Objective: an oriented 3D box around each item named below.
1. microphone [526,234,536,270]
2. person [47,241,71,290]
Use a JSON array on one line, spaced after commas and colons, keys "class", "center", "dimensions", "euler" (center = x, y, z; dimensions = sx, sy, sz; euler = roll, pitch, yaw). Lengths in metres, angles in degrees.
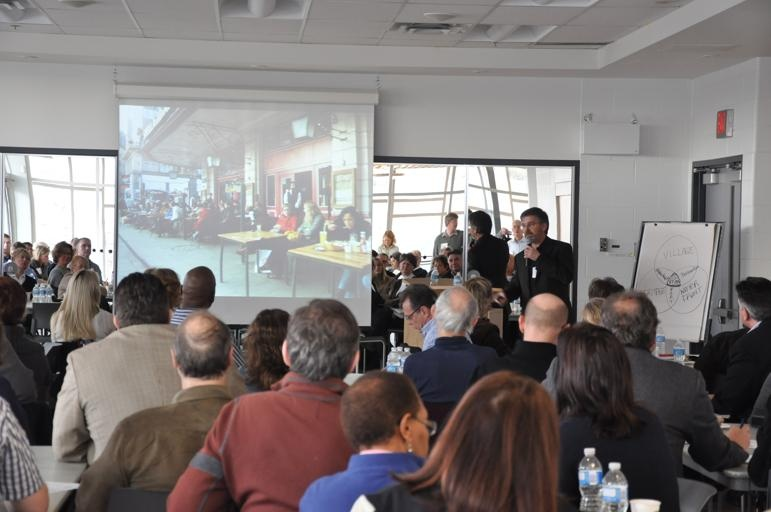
[{"class": "microphone", "center": [1.550, -0.048, 6.253], "dimensions": [0.124, 0.389, 0.121], "euler": [7, -12, -32]}, {"class": "person", "center": [-4.598, 0.238, 8.305], "dimensions": [0.348, 0.804, 0.352], "euler": [-6, 17, -30]}]
